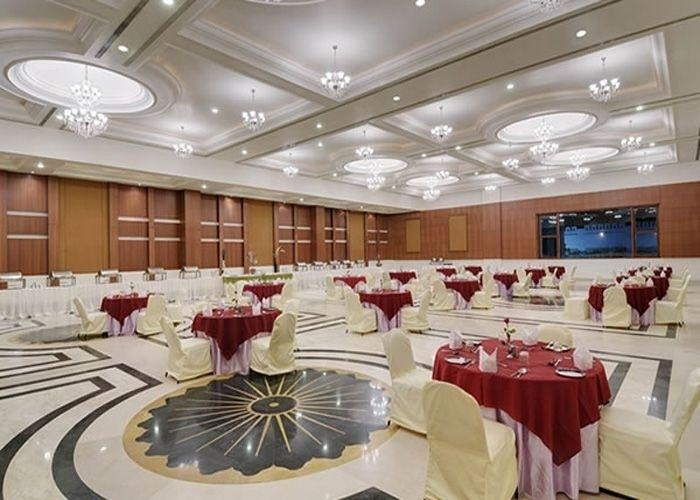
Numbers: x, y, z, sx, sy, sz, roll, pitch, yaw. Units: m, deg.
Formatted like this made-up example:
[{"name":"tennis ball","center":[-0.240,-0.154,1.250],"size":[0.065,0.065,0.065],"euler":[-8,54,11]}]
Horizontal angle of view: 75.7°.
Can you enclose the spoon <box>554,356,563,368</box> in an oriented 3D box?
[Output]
[{"name":"spoon","center":[2.712,1.485,5.892],"size":[0.063,0.131,0.299],"euler":[3,5,23]}]

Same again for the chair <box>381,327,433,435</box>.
[{"name":"chair","center":[0.936,1.896,6.561],"size":[0.807,1.342,0.968],"euler":[-3,2,5]}]

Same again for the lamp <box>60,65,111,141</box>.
[{"name":"lamp","center":[-5.548,-3.209,9.458],"size":[0.799,1.641,0.827],"euler":[-5,-6,30]}]
